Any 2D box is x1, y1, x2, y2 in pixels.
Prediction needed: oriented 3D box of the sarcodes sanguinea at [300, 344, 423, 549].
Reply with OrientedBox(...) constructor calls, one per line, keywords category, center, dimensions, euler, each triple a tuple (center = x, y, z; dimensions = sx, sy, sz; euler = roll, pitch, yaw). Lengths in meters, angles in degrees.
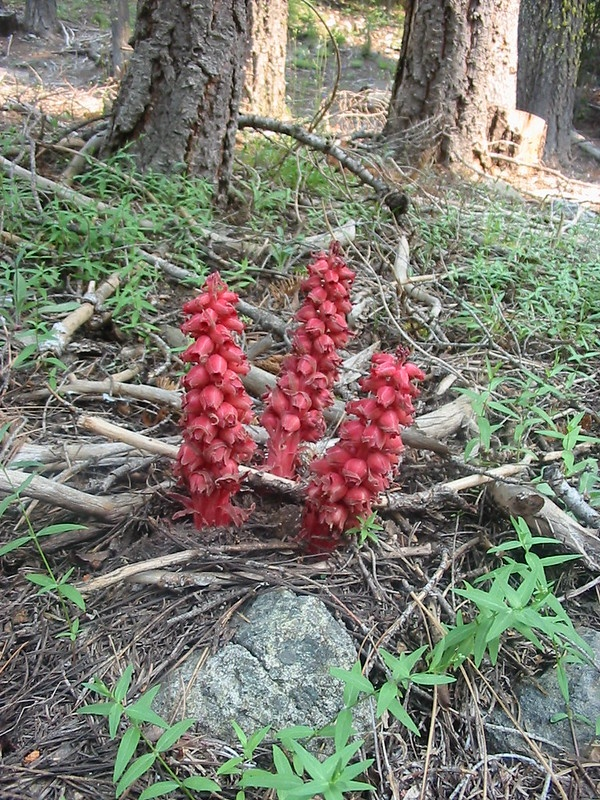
OrientedBox(category="sarcodes sanguinea", center=(0.152, 0.171, 1.781), dimensions=(0.233, 0.689, 0.195), euler=(14, 23, 4))
